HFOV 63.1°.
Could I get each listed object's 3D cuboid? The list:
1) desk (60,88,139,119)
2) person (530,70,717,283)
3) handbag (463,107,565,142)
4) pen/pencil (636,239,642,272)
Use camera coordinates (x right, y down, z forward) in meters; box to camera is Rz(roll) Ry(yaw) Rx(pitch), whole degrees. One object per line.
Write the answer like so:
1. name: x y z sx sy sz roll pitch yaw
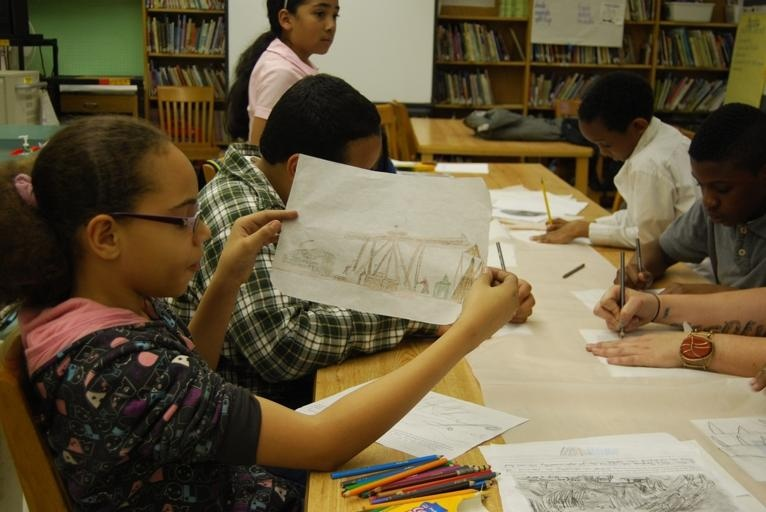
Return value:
1. desk: -2.548 -1.359 5.596 0.647 0.205 0.353 -5 16 -21
2. person: 1.086 -0.334 2.731 0.635 0.877 0.620 3 19 35
3. handbag: 0.965 -0.917 4.507 0.472 0.150 0.353 0 10 -9
4. pen/pencil: 0.829 0.004 2.012 0.011 0.109 0.012 3 2 25
